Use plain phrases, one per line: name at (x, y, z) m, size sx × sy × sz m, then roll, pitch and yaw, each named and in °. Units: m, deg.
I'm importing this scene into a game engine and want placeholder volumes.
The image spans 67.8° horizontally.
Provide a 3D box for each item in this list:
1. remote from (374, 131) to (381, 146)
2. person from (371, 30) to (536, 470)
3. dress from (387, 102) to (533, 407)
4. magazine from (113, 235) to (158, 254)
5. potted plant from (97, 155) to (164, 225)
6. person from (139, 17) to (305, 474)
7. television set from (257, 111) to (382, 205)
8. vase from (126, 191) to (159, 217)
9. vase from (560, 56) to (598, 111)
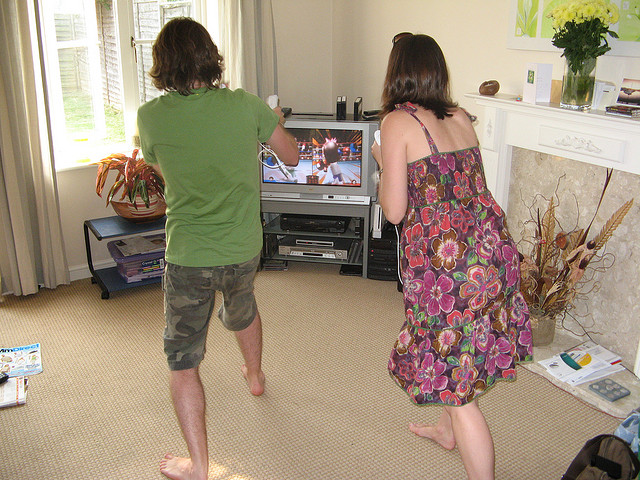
remote at (0.230, -0.402, 1.887) m, size 0.019 × 0.054 × 0.038 m, roll -2°, pitch 10°, yaw 33°
person at (0.522, 0.033, 1.904) m, size 0.596 × 1.596 × 0.449 m, roll 13°, pitch 23°, yaw 36°
dress at (0.575, 0.069, 1.851) m, size 0.583 × 1.158 × 0.379 m, roll 0°, pitch 19°, yaw 5°
magazine at (-1.461, 0.041, 3.785) m, size 0.321 × 0.045 × 0.211 m, roll 16°, pitch 26°, yaw 41°
potted plant at (-1.458, -0.413, 3.809) m, size 0.447 × 0.535 × 0.578 m, roll 5°, pitch 7°, yaw 15°
person at (-0.480, 0.091, 2.105) m, size 0.698 × 1.957 × 0.341 m, roll -17°, pitch 24°, yaw -37°
television set at (-0.031, -0.683, 3.980) m, size 0.959 × 0.676 × 0.537 m, roll 2°, pitch 24°, yaw 7°
vase at (-1.386, -0.274, 3.698) m, size 0.196 × 0.148 × 0.191 m, roll 3°, pitch 17°, yaw 9°
vase at (1.431, -0.869, 2.631) m, size 0.164 × 0.276 × 0.166 m, roll -20°, pitch 30°, yaw -28°
